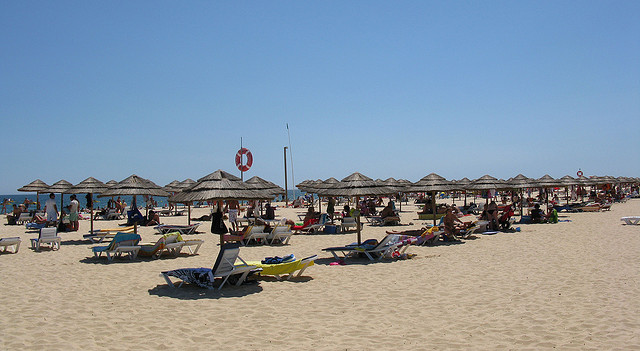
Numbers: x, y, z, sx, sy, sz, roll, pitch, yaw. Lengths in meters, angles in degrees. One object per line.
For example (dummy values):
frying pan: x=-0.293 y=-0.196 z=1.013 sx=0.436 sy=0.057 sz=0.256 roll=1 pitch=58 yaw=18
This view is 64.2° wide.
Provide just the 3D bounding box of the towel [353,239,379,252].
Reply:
towel: x=1.567 y=2.359 z=17.256 sx=0.674 sy=0.228 sz=0.348 roll=-20 pitch=-1 yaw=10

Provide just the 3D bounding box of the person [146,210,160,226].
person: x=-8.571 y=2.194 z=26.176 sx=0.759 sy=0.728 sz=0.630 roll=5 pitch=-6 yaw=-33

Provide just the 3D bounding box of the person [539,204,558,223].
person: x=11.320 y=1.964 z=25.390 sx=0.883 sy=0.780 sz=1.423 roll=1 pitch=-2 yaw=18

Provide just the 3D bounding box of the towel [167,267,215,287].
towel: x=-3.646 y=2.911 z=14.852 sx=0.958 sy=0.285 sz=0.668 roll=1 pitch=-7 yaw=19

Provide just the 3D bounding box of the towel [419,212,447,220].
towel: x=5.899 y=2.137 z=26.693 sx=1.088 sy=0.207 sz=0.924 roll=0 pitch=-1 yaw=13

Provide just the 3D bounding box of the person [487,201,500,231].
person: x=7.623 y=1.762 z=22.408 sx=0.539 sy=1.263 sz=0.509 roll=-1 pitch=1 yaw=-10

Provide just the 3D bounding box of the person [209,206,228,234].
person: x=-3.636 y=1.601 z=18.336 sx=0.499 sy=0.984 sz=0.687 roll=-1 pitch=1 yaw=-12

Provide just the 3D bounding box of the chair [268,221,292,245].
chair: x=-1.823 y=2.253 z=20.175 sx=0.724 sy=0.599 sz=1.046 roll=-14 pitch=3 yaw=-29

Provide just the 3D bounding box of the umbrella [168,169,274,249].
umbrella: x=-3.430 y=1.679 z=20.072 sx=4.278 sy=2.603 sz=4.084 roll=5 pitch=-8 yaw=-40

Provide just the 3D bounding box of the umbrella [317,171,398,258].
umbrella: x=1.158 y=1.366 z=19.369 sx=2.265 sy=3.119 sz=3.234 roll=-1 pitch=0 yaw=40

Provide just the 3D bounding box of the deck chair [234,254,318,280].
deck chair: x=-1.258 y=2.888 z=15.865 sx=2.114 sy=0.492 sz=1.096 roll=-4 pitch=-8 yaw=11

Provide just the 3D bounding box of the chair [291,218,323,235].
chair: x=-0.627 y=2.294 z=22.822 sx=1.117 sy=0.568 sz=0.739 roll=6 pitch=-13 yaw=-26

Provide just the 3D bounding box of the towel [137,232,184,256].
towel: x=-5.582 y=2.395 z=17.904 sx=1.022 sy=0.913 sz=1.971 roll=-4 pitch=-1 yaw=9

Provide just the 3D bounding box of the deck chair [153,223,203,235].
deck chair: x=-6.309 y=2.357 z=22.481 sx=1.418 sy=0.314 sz=0.913 roll=-2 pitch=-3 yaw=6

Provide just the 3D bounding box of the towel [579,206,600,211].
towel: x=16.306 y=2.015 z=30.980 sx=1.028 sy=0.293 sz=0.512 roll=0 pitch=1 yaw=-22

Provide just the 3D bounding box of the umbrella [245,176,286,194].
umbrella: x=-3.099 y=0.591 z=29.128 sx=2.104 sy=0.603 sz=2.564 roll=1 pitch=-2 yaw=28

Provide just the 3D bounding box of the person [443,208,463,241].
person: x=5.309 y=1.940 z=20.508 sx=0.627 sy=1.243 sz=1.002 roll=0 pitch=1 yaw=14

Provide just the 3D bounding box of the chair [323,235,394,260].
chair: x=1.296 y=2.490 z=17.518 sx=2.150 sy=0.787 sz=0.930 roll=1 pitch=-7 yaw=0

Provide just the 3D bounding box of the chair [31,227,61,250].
chair: x=-10.082 y=2.253 z=18.809 sx=0.730 sy=0.591 sz=1.074 roll=2 pitch=2 yaw=-37

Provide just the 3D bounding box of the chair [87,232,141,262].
chair: x=-7.114 y=2.486 z=17.727 sx=1.844 sy=0.735 sz=1.044 roll=-10 pitch=-12 yaw=42

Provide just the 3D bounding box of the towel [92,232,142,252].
towel: x=-6.973 y=2.235 z=17.422 sx=1.198 sy=0.361 sz=0.800 roll=3 pitch=1 yaw=32

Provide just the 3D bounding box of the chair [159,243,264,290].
chair: x=-3.242 y=2.669 z=15.238 sx=2.342 sy=0.934 sz=1.518 roll=-1 pitch=-8 yaw=10

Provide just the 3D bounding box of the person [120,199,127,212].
person: x=-12.871 y=1.993 z=33.399 sx=0.399 sy=0.630 sz=0.168 roll=-1 pitch=-4 yaw=15
